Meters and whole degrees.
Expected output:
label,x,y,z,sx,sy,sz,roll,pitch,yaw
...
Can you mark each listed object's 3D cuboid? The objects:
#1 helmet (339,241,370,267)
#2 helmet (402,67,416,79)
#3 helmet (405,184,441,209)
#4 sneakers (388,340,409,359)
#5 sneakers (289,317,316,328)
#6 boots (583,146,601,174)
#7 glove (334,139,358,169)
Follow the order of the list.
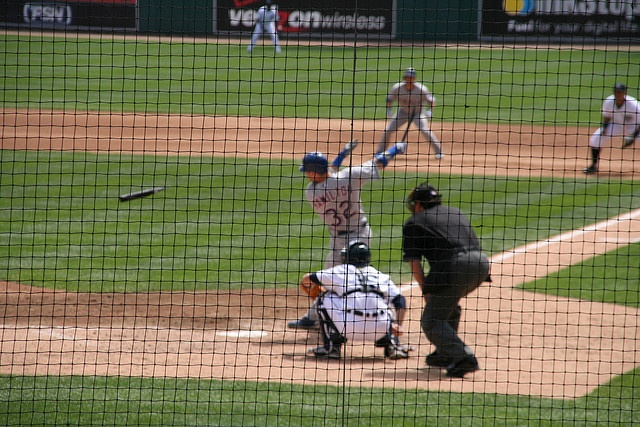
label,x,y,z,sx,sy,sz,roll,pitch,yaw
helmet,0.625,0.721,19.015,0.398,0.431,0.501,1,10,-21
helmet,2.023,-3.160,24.992,0.303,0.295,0.357,-2,7,2
helmet,1.780,-0.313,18.898,0.552,0.449,0.396,9,14,17
sneakers,1.290,2.382,19.023,0.462,0.253,0.201,-1,7,-10
sneakers,-0.289,1.970,19.802,0.532,0.188,0.178,3,2,3
boots,6.306,-1.225,25.635,0.342,0.643,0.398,3,11,12
glove,0.554,-1.208,20.539,0.252,0.243,0.873,17,41,18
